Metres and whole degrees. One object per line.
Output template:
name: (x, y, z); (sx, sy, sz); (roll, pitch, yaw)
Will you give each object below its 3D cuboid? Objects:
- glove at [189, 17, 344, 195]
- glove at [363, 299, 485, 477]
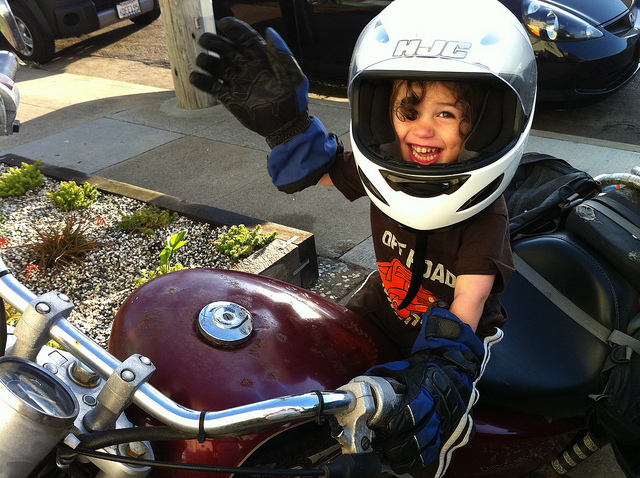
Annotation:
glove: (-0.194, -0.475, 1.993); (0.444, 0.465, 0.323); (29, 53, 28)
glove: (0.262, 0.346, 1.516); (0.271, 0.184, 0.440); (40, 26, -7)
